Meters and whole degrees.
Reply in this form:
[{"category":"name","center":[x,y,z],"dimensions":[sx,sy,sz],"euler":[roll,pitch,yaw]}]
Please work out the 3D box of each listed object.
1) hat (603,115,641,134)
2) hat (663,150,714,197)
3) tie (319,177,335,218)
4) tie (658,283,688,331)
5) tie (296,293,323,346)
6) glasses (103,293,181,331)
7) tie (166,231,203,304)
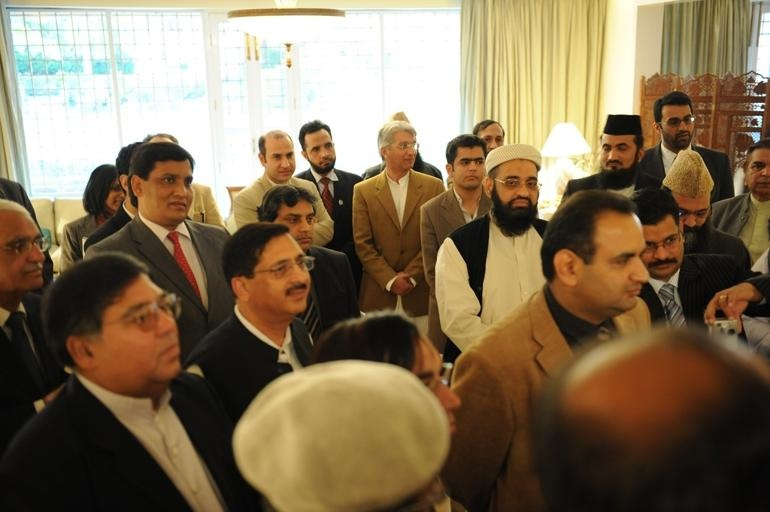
[{"category":"hat","center":[1.637,-0.899,4.146],"dimensions":[0.180,0.091,0.183],"euler":[2,3,38]},{"category":"hat","center":[1.564,-0.416,3.137],"dimensions":[0.234,0.159,0.255],"euler":[1,22,0]},{"category":"tie","center":[-0.477,-0.481,4.879],"dimensions":[0.213,0.269,0.082],"euler":[-5,-2,-3]},{"category":"tie","center":[1.258,0.210,2.634],"dimensions":[0.084,0.265,0.069],"euler":[-15,6,-6]},{"category":"tie","center":[-0.388,0.320,3.118],"dimensions":[0.162,0.212,0.057],"euler":[7,9,35]},{"category":"glasses","center":[-0.747,0.175,1.908],"dimensions":[0.133,0.039,0.102],"euler":[-20,0,36]},{"category":"tie","center":[-1.035,0.022,3.095],"dimensions":[0.102,0.488,0.054],"euler":[-23,-16,-22]}]
